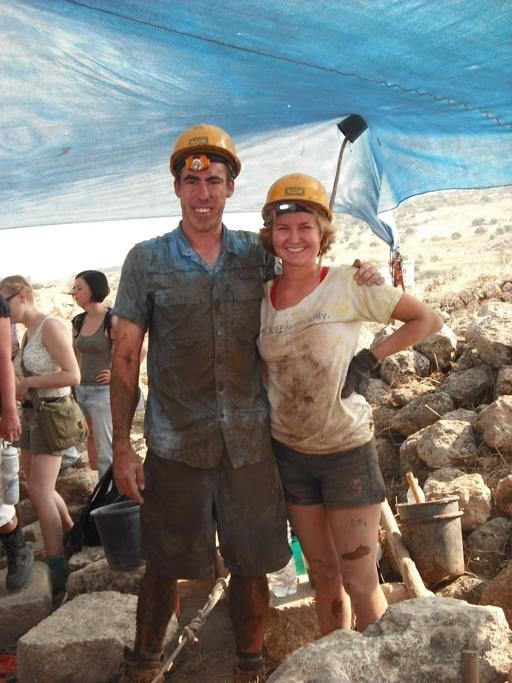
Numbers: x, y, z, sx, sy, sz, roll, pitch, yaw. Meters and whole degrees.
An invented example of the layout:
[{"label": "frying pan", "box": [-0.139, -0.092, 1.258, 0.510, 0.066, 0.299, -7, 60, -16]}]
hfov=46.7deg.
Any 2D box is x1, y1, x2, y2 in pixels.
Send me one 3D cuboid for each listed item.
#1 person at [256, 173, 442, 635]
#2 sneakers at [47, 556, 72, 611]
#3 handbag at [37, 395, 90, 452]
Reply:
[{"label": "person", "box": [0.374, 0.328, 2.722, 0.731, 2.164, 0.410, 0, 12, 19]}, {"label": "sneakers", "box": [-1.485, 1.771, 4.478, 0.179, 0.446, 0.201, 2, -34, -12]}, {"label": "handbag", "box": [-1.394, 0.592, 4.344, 0.398, 0.396, 0.322, -12, 14, -41]}]
